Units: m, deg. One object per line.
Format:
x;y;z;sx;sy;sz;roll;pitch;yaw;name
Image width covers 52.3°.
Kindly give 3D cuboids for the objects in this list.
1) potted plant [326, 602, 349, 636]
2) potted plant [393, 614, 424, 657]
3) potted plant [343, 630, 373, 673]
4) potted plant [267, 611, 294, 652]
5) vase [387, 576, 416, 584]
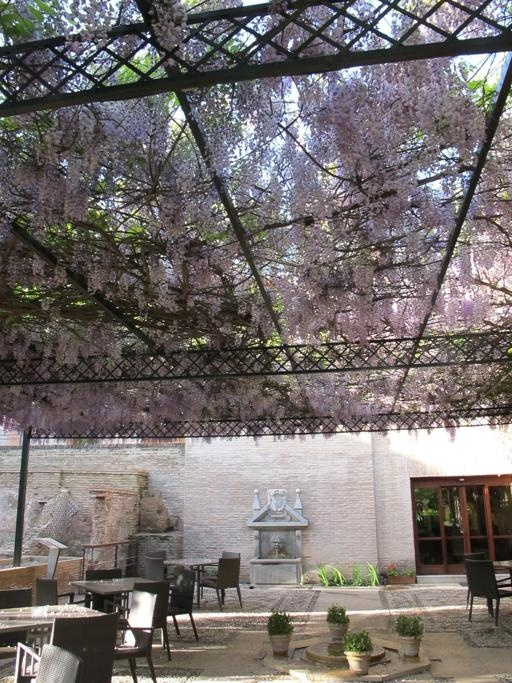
0.978;3.365;6.234;0.221;0.388;0.303;-4;-16;5;potted plant
1.751;3.370;5.909;0.263;0.443;0.363;-6;-16;13;potted plant
1.032;3.152;5.245;0.260;0.351;0.280;-4;-16;6;potted plant
0.280;3.433;6.127;0.262;0.521;0.414;-3;-16;0;potted plant
3.708;6.105;13.265;0.671;0.212;0.148;1;-16;-11;vase
